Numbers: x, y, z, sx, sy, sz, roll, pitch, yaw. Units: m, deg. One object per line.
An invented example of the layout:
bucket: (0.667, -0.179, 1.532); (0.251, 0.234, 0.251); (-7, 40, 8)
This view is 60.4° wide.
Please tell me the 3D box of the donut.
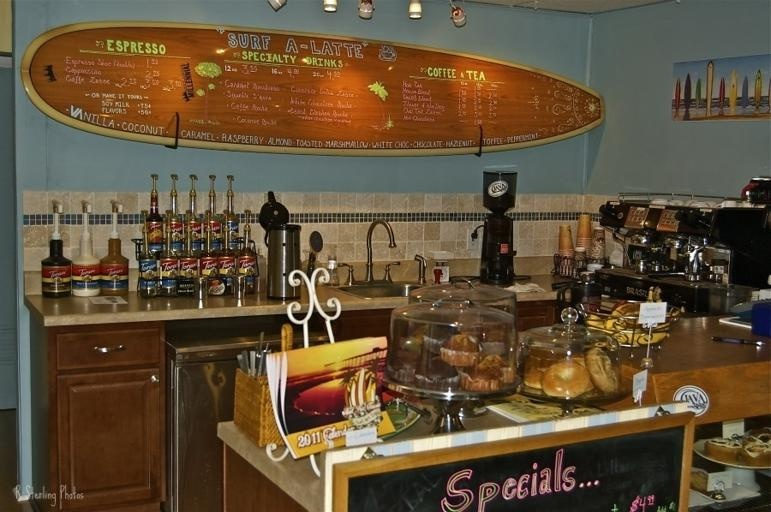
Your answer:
donut: (0.760, 0.469, 2.626); (0.256, 0.116, 0.251); (-2, -1, -43)

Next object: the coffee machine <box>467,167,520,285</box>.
coffee machine: (0.857, -0.241, 5.270); (0.343, 0.907, 0.454); (-1, 5, 5)

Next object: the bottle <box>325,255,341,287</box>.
bottle: (-0.386, 0.112, 4.875); (0.098, 0.223, 0.307); (-2, 4, -5)

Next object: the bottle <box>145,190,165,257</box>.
bottle: (-1.505, -0.216, 4.330); (0.118, 0.442, 0.215); (-3, 5, -18)

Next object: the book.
book: (-0.146, 0.515, 2.369); (0.436, 0.294, 0.151); (-6, 1, -30)

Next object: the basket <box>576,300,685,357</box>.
basket: (1.134, 0.317, 3.127); (0.459, 0.238, 0.339); (0, 5, 23)

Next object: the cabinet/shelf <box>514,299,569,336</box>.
cabinet/shelf: (1.109, 0.434, 4.892); (0.401, 0.222, 0.103); (-4, 5, -23)
